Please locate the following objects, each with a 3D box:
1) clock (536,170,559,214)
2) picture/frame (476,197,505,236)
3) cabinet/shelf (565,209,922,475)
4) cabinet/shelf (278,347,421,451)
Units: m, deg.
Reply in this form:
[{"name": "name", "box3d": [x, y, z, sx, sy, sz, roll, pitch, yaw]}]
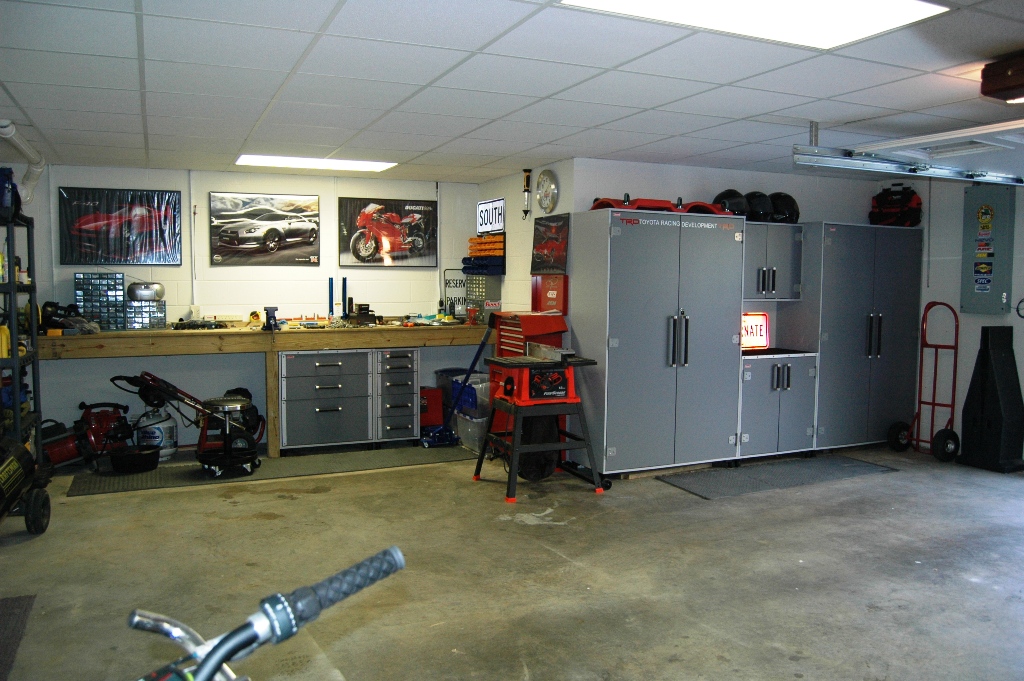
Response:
[{"name": "clock", "box3d": [0.416, -1.747, 7.941, 0.121, 0.503, 0.503, -5, 14, -20]}, {"name": "picture/frame", "box3d": [-0.251, -1.649, 9.032, 0.036, 0.440, 0.678, 0, 3, -32]}, {"name": "cabinet/shelf", "box3d": [2.435, 0.028, 7.567, 3.548, 1.929, 0.730, -1, 2, -21]}, {"name": "cabinet/shelf", "box3d": [-2.043, 0.660, 8.373, 2.117, 1.227, 1.141, 0, -1, -23]}]
